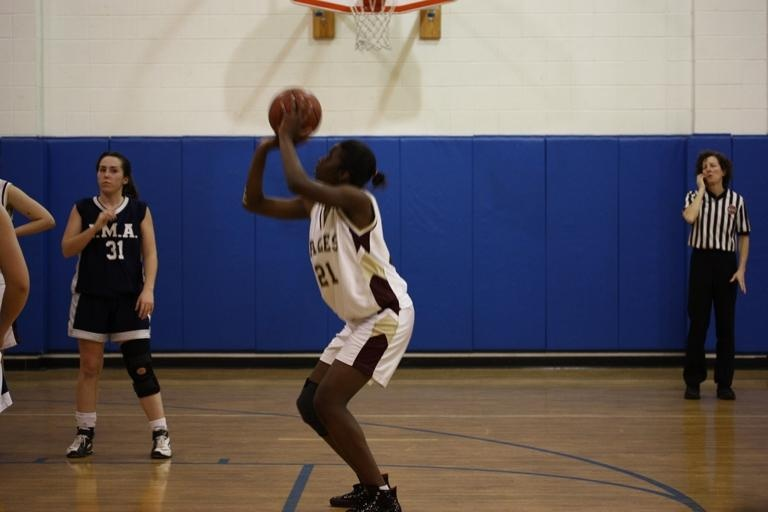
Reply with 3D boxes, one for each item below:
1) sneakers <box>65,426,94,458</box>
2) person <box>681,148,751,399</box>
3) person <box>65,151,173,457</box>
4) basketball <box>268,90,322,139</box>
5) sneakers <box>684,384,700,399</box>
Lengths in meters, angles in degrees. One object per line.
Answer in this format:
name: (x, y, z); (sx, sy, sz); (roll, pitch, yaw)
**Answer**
sneakers: (-2.451, 1.519, 7.330); (0.129, 0.230, 0.323); (1, -14, 2)
person: (3.146, 0.179, 8.647); (0.614, 2.329, 0.499); (3, 3, 12)
person: (-2.155, 0.406, 7.362); (0.874, 2.462, 0.450); (2, 3, -16)
basketball: (-0.646, -0.995, 6.545); (0.354, 0.383, 0.351); (-3, 9, -15)
sneakers: (2.932, 1.277, 8.611); (0.150, 0.127, 0.281); (4, 4, 20)
